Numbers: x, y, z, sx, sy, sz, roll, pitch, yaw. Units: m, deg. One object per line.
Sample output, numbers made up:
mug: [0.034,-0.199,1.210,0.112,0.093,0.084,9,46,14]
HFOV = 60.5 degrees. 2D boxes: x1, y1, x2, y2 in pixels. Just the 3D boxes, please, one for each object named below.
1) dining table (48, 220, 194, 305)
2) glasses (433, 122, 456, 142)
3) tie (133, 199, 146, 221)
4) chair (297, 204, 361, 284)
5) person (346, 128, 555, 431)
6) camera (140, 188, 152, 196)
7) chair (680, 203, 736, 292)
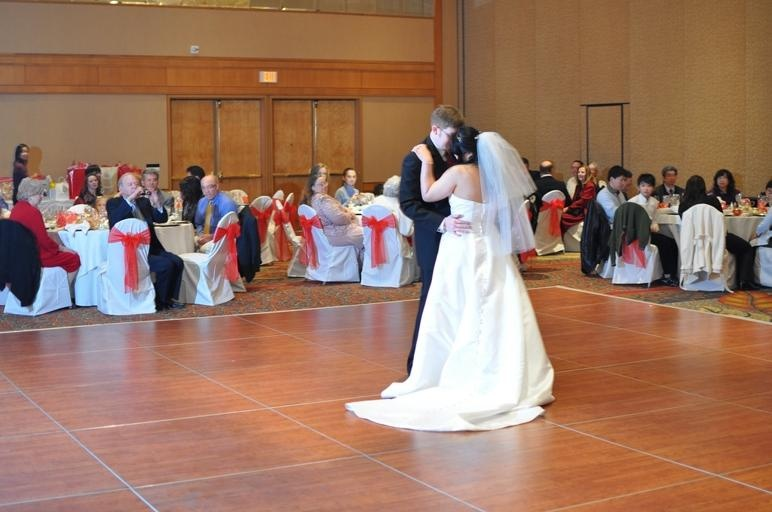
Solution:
dining table: [-3.480,0.032,8.500,1.163,0.777,1.183,0,2,-7]
glasses: [0.457,-0.925,5.080,0.128,0.148,0.139,-10,5,16]
tie: [-3.013,-0.542,8.038,0.133,0.236,0.112,-10,-19,-42]
chair: [-0.964,-0.150,10.162,1.033,1.455,0.956,-3,6,-34]
person: [0.629,0.133,4.877,1.305,2.103,0.871,-1,11,-1]
camera: [-3.054,-0.802,8.429,0.116,0.059,0.071,5,3,25]
chair: [4.228,-0.083,8.654,0.682,1.160,0.446,3,11,19]
